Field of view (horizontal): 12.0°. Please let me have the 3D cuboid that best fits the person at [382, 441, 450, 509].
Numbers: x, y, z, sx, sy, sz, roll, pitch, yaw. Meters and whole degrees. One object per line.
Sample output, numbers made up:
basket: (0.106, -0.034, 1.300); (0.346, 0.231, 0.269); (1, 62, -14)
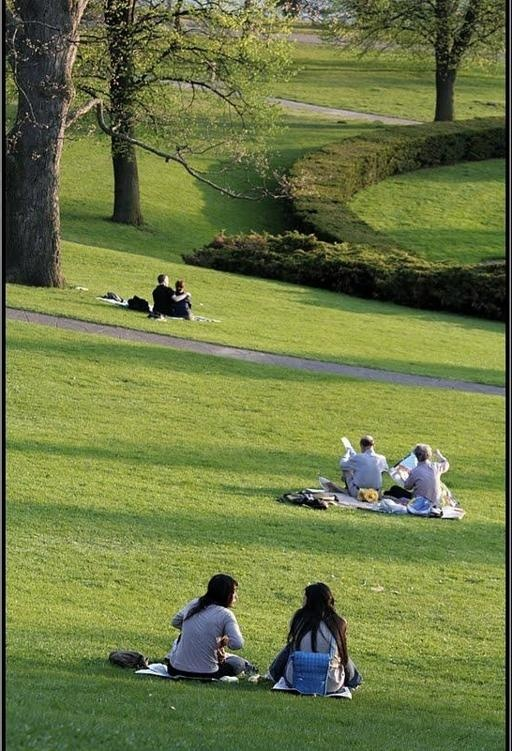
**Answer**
person: (3.806, 2.541, 55.152); (1.058, 1.904, 1.108); (-4, 12, 5)
